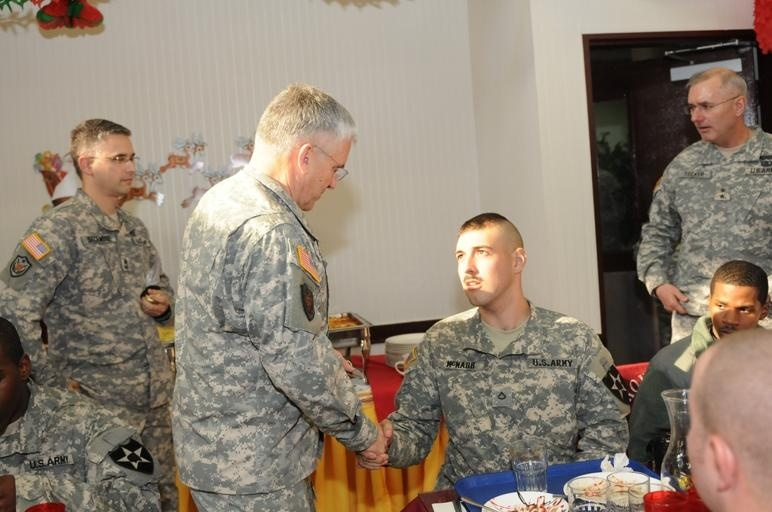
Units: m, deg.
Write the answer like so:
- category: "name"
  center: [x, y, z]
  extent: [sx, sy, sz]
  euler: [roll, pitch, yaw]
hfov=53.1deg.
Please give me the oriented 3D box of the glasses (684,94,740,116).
- category: "glasses"
  center: [1.638, -0.756, 3.896]
  extent: [0.254, 0.065, 0.116]
  euler: [-3, 5, 27]

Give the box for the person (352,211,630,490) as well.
- category: "person"
  center: [0.480, 0.473, 3.220]
  extent: [0.987, 1.313, 0.627]
  euler: [-1, 15, 10]

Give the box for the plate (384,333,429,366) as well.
- category: "plate"
  center: [0.091, 0.495, 4.361]
  extent: [0.231, 0.150, 0.237]
  euler: [-5, -1, -4]

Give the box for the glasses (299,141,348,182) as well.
- category: "glasses"
  center: [-0.218, -0.347, 2.922]
  extent: [0.034, 0.116, 0.110]
  euler: [-39, 6, -12]

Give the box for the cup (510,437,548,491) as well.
- category: "cup"
  center: [0.515, 0.728, 2.743]
  extent: [0.137, 0.183, 0.107]
  euler: [-6, 5, -6]
